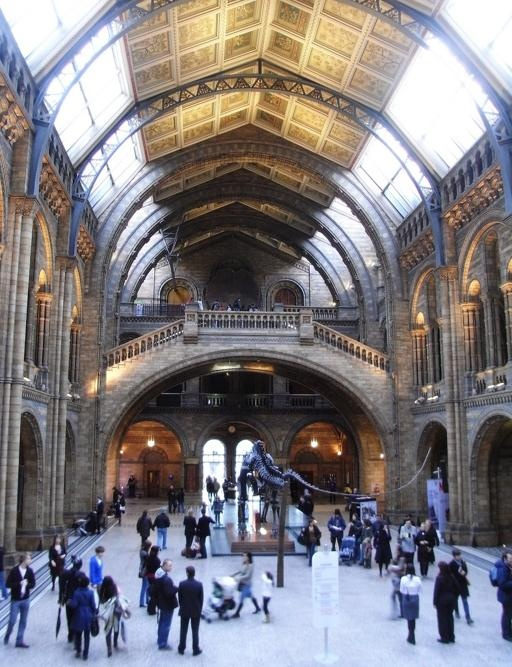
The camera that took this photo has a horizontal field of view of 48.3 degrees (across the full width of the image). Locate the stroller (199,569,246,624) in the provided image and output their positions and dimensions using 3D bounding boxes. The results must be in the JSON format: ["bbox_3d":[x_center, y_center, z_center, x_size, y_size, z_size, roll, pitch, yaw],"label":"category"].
[{"bbox_3d":[-0.534,4.464,9.865,0.759,0.961,0.725,5,-12,-11],"label":"stroller"}]

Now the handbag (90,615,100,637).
[{"bbox_3d":[-2.101,3.799,7.426,0.092,0.275,0.306,2,-15,-13],"label":"handbag"}]
